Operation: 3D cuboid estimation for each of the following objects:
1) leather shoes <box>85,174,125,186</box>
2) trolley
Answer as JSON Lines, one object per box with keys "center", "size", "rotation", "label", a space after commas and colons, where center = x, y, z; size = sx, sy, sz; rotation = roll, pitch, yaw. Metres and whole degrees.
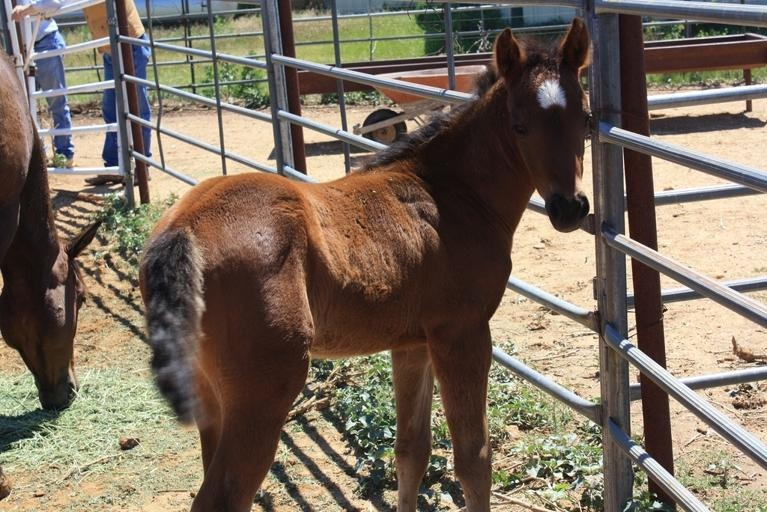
{"center": [-3.263, -0.883, 9.439], "size": [0.401, 0.104, 0.228], "rotation": [-3, 20, -12], "label": "leather shoes"}
{"center": [0.783, -1.942, 10.184], "size": [2.374, 0.881, 1.328], "rotation": [-11, 12, -3], "label": "trolley"}
